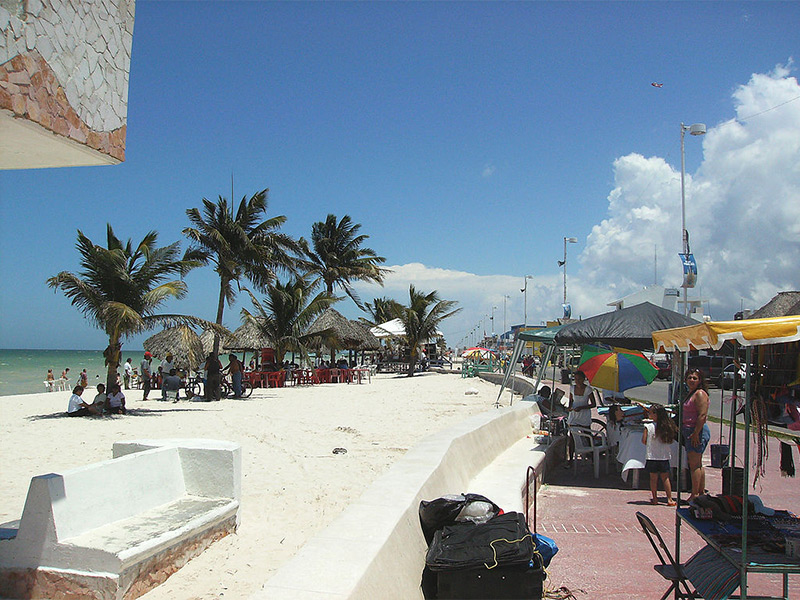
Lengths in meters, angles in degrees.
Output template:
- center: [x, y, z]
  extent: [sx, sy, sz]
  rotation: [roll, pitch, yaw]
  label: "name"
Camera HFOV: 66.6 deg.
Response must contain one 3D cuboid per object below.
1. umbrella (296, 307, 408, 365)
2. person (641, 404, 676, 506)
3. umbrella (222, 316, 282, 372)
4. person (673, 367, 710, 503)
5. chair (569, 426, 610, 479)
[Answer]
- center: [-3.482, 1.886, 35.205]
  extent: [3.195, 2.124, 4.831]
  rotation: [-8, -8, 33]
  label: "umbrella"
- center: [4.005, 2.343, 9.403]
  extent: [0.448, 1.413, 0.861]
  rotation: [-2, -4, 23]
  label: "person"
- center: [-6.850, 2.079, 28.733]
  extent: [2.618, 2.156, 3.043]
  rotation: [2, -3, 0]
  label: "umbrella"
- center: [4.184, 1.857, 8.671]
  extent: [0.336, 1.708, 0.659]
  rotation: [-3, -4, 24]
  label: "person"
- center: [3.599, 2.817, 11.687]
  extent: [0.739, 0.891, 1.436]
  rotation: [-2, -5, 15]
  label: "chair"
